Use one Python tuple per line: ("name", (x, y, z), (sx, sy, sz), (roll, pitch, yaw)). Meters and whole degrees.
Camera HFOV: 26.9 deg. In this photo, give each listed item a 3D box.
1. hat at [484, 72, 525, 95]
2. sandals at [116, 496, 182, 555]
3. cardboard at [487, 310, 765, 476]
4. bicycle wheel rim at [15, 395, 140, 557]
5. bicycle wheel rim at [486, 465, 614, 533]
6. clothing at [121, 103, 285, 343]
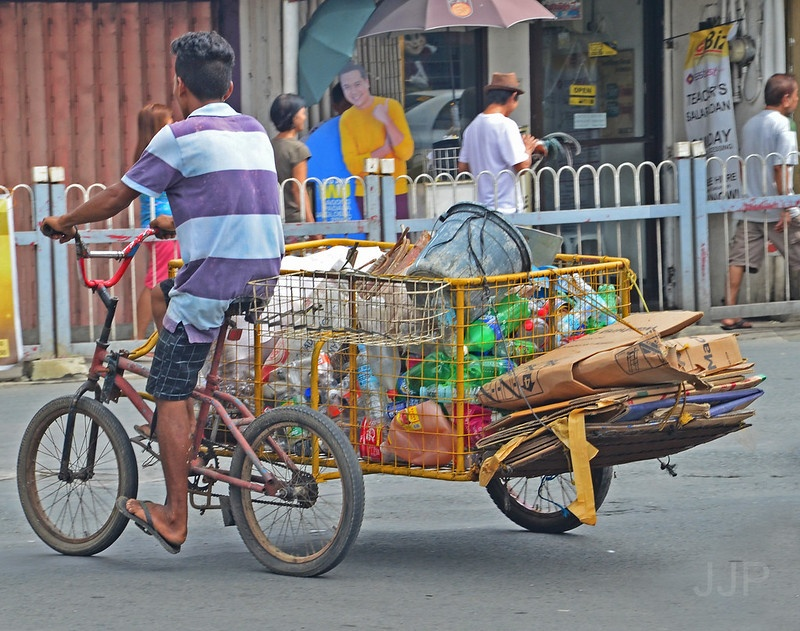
("hat", (0.894, -1.951, 14.007), (0.371, 0.126, 0.381), (3, 3, 6))
("sandals", (-1.402, 1.159, 9.358), (0.516, 0.114, 0.182), (35, 0, 1))
("cardboard", (1.169, 0.433, 9.292), (1.171, 0.448, 1.374), (-8, -4, 42))
("bicycle wheel rim", (-1.849, 0.945, 9.624), (1.084, 0.893, 0.267), (5, 7, 30))
("bicycle wheel rim", (0.915, 1.113, 9.859), (0.594, 0.442, 0.530), (0, 1, 15))
("clothing", (-1.060, -0.513, 9.192), (0.842, 1.311, 0.226), (-2, 3, -9))
